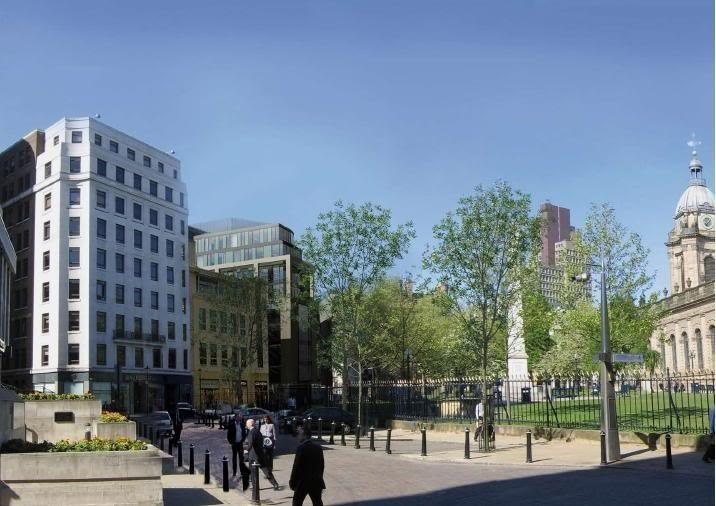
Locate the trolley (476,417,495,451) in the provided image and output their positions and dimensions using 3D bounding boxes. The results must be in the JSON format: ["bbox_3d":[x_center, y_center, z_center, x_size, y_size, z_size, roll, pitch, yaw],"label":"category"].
[{"bbox_3d":[6.803,9.764,52.357,0.966,1.383,1.000,1,-8,39],"label":"trolley"}]

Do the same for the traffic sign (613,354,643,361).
[{"bbox_3d":[13.016,5.108,47.912,1.783,0.342,0.599,7,-15,-36],"label":"traffic sign"}]
